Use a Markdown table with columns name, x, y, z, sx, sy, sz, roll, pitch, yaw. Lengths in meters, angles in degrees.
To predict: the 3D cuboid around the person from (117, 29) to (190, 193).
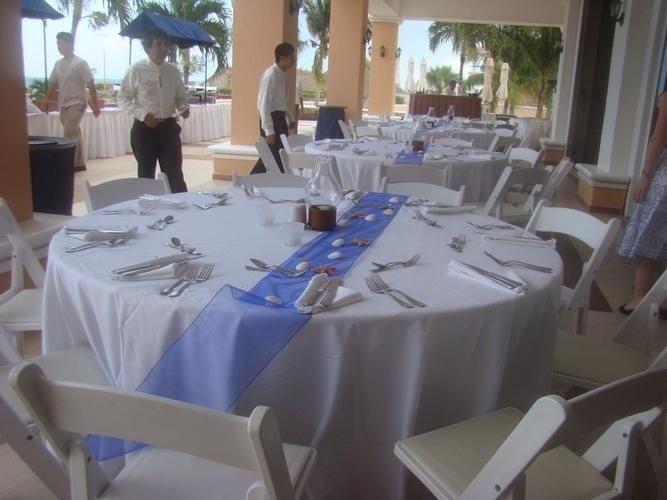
| name | x | y | z | sx | sy | sz | roll | pitch | yaw |
| --- | --- | --- | --- | --- | --- | --- | --- | --- | --- |
| person | -1.705 | -1.179 | 4.700 | 0.567 | 1.851 | 0.544 | -6 | 35 | -24 |

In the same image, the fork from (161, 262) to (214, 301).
| name | x | y | z | sx | sy | sz | roll | pitch | yaw |
| --- | --- | --- | --- | --- | --- | --- | --- | --- | --- |
| fork | -0.458 | 0.078 | 1.529 | 0.054 | 0.030 | 0.190 | 6 | 27 | 13 |

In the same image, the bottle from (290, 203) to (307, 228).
| name | x | y | z | sx | sy | sz | roll | pitch | yaw |
| --- | --- | --- | --- | --- | --- | --- | --- | --- | --- |
| bottle | -0.137 | -0.149 | 2.066 | 0.051 | 0.118 | 0.103 | 0 | 14 | -3 |

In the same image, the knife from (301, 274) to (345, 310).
| name | x | y | z | sx | sy | sz | roll | pitch | yaw |
| --- | --- | --- | --- | --- | --- | --- | --- | --- | --- |
| knife | -0.037 | 0.115 | 1.455 | 0.055 | 0.025 | 0.162 | 16 | 21 | 8 |

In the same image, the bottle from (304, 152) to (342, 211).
| name | x | y | z | sx | sy | sz | roll | pitch | yaw |
| --- | --- | --- | --- | --- | --- | --- | --- | --- | --- |
| bottle | -0.058 | -0.322 | 2.149 | 0.188 | 0.358 | 0.197 | 1 | 17 | 0 |

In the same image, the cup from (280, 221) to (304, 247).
| name | x | y | z | sx | sy | sz | roll | pitch | yaw |
| --- | --- | --- | --- | --- | --- | --- | --- | --- | --- |
| cup | -0.151 | -0.065 | 1.850 | 0.067 | 0.080 | 0.085 | 4 | 8 | 0 |

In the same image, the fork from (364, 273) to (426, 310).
| name | x | y | z | sx | sy | sz | roll | pitch | yaw |
| --- | --- | --- | --- | --- | --- | --- | --- | --- | --- |
| fork | 0.191 | 0.105 | 1.483 | 0.068 | 0.042 | 0.248 | -17 | 34 | -25 |
